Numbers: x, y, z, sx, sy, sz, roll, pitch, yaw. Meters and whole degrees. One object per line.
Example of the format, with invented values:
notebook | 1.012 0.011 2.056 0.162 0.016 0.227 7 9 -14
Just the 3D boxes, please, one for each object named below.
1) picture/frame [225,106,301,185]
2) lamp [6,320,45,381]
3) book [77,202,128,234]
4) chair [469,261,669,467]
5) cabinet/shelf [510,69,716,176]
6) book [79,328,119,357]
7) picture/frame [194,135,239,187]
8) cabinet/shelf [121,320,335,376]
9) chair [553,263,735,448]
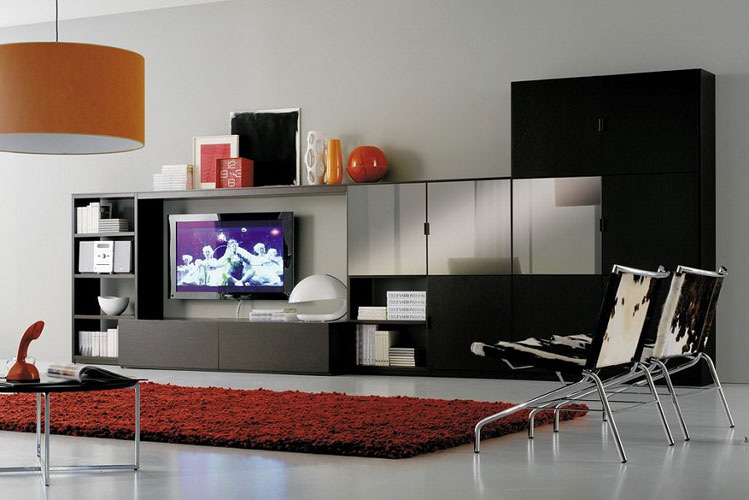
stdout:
picture/frame | -1.115 -1.038 8.045 0.829 0.851 0.088 0 1 19
lamp | -1.988 0.558 4.458 0.192 0.348 0.574 -1 0 -23
book | -2.932 -0.346 8.424 0.555 0.369 0.209 -1 0 20
chair | 1.226 0.684 4.710 1.009 1.046 0.809 -1 -4 36
cabinet/shelf | 2.087 -1.047 6.983 1.730 0.954 0.566 5 13 37
book | -2.927 0.995 8.367 0.344 0.330 0.185 0 -1 27
picture/frame | -1.605 -0.903 8.076 0.532 0.610 0.085 -2 -8 21
cabinet/shelf | -1.457 0.960 7.795 2.294 0.527 0.403 -1 -2 17
chair | 1.476 0.713 5.466 0.684 1.125 0.972 18 -9 -42
